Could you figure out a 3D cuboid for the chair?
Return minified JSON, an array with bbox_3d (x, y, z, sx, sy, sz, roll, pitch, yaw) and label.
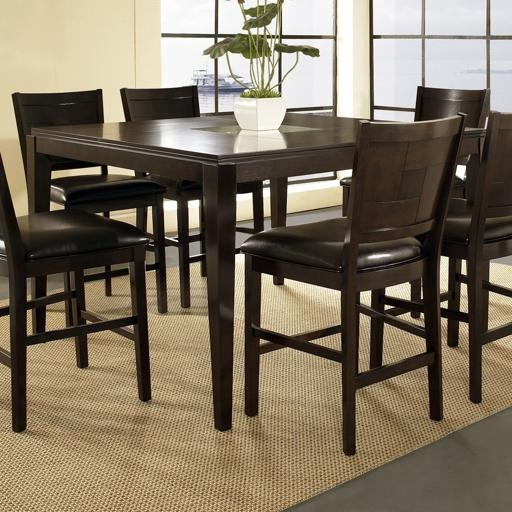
[{"bbox_3d":[0.069,-0.139,2.153,1.858,1.039,1.495,10,17,38],"label":"chair"}]
